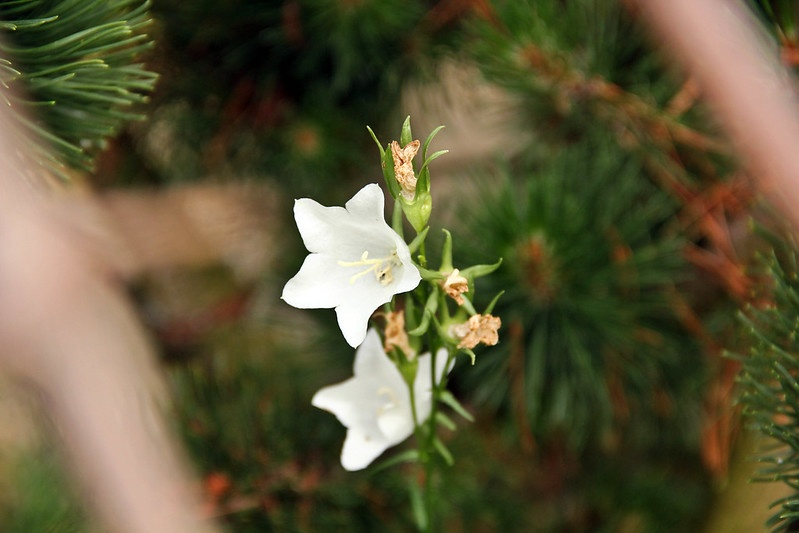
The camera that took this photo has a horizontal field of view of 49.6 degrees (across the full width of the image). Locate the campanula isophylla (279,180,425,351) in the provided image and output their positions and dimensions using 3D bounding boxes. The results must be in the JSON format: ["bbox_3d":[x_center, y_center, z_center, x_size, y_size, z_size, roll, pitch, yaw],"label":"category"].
[{"bbox_3d":[-0.102,-0.008,1.532,0.261,0.115,0.259,-29,98,15],"label":"campanula isophylla"}]
